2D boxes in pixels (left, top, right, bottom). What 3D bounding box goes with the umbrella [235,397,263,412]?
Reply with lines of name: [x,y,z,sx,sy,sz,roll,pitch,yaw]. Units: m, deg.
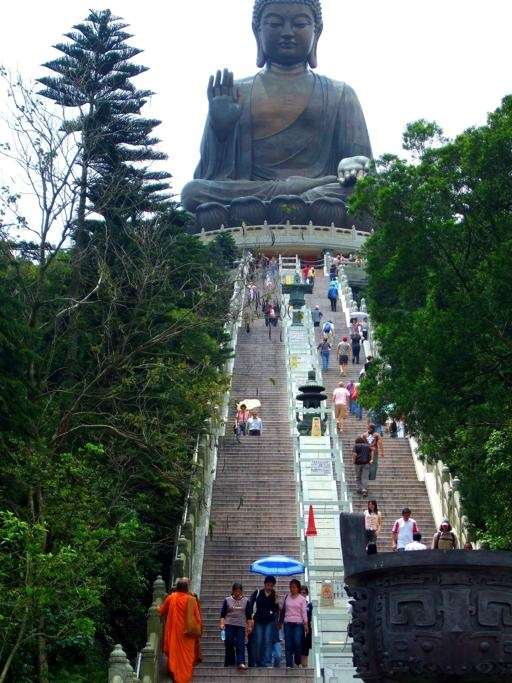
umbrella: [-0.139,1.440,16.979,0.492,0.183,0.495,-5,-6,38]
